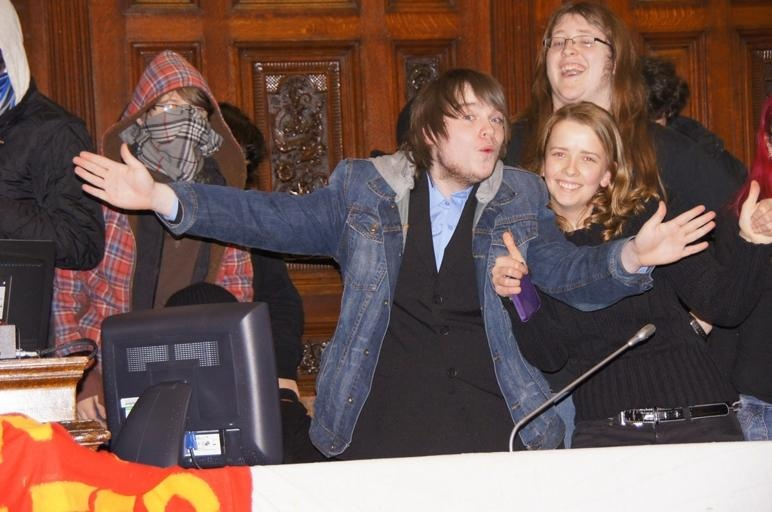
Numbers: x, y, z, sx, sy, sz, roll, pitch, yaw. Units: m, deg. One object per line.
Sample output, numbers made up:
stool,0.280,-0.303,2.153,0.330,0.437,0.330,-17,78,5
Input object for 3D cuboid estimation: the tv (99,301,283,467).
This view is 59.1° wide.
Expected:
tv,-0.597,0.403,2.087,0.498,0.434,0.176,-3,5,1

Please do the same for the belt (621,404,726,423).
belt,1.022,0.554,2.390,0.280,0.055,0.048,-4,-8,3

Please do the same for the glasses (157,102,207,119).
glasses,-0.935,-0.665,3.107,0.232,0.062,0.068,-2,5,-15
